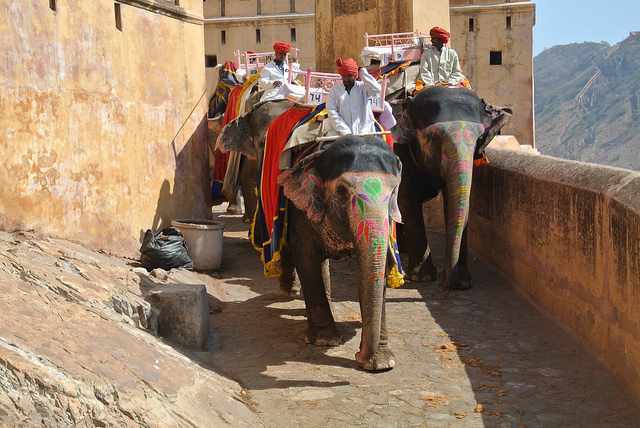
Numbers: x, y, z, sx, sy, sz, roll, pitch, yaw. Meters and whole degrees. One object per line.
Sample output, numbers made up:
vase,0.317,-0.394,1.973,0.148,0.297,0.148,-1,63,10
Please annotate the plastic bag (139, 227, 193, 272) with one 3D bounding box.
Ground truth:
plastic bag,-1.880,0.475,9.967,0.541,0.570,0.422,-1,8,4

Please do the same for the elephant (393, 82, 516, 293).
elephant,1.575,-0.343,10.907,1.659,2.607,3.400,-1,1,2

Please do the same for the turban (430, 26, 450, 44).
turban,1.561,-2.316,10.719,0.206,0.122,0.227,5,19,-17

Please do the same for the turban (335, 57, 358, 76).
turban,0.262,-1.537,8.662,0.282,0.229,0.215,8,20,27

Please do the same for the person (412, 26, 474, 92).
person,1.581,-1.969,10.665,0.832,0.863,0.555,0,13,5

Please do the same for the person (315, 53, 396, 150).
person,0.289,-1.075,8.463,0.915,1.052,0.998,5,14,30

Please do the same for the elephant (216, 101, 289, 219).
elephant,-0.995,-0.723,11.179,0.730,1.190,1.520,15,-8,4

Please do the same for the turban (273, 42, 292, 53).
turban,-0.500,-2.337,11.453,0.189,0.100,0.213,4,4,16

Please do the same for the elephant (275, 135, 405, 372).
elephant,0.165,0.271,8.339,1.186,2.170,1.966,-3,14,-9

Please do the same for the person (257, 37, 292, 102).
person,-0.609,-1.937,11.304,0.457,0.754,1.090,-2,14,-3

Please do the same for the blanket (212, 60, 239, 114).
blanket,-1.587,-2.178,14.165,0.347,1.188,0.492,-7,-29,14
